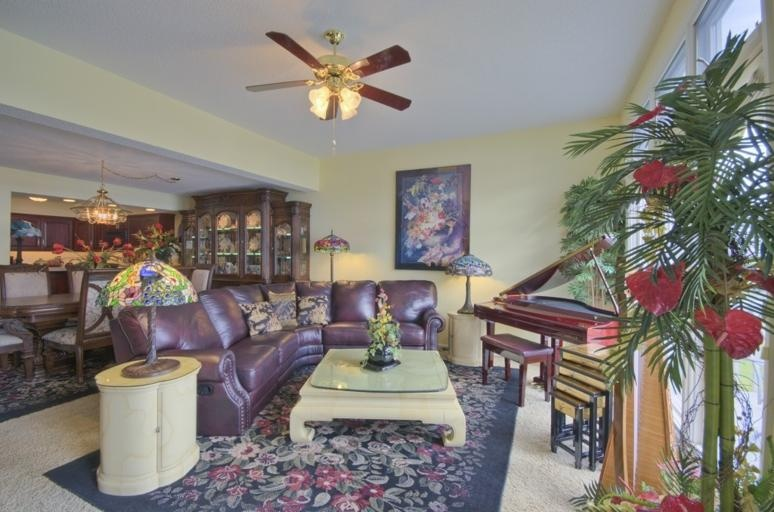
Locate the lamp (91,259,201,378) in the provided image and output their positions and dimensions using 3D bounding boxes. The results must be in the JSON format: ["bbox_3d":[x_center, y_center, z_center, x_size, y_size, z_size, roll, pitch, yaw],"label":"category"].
[{"bbox_3d":[-1.923,0.461,4.331,0.781,0.906,0.774,1,2,-9],"label":"lamp"}]

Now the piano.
[{"bbox_3d":[1.586,0.559,5.443,1.160,1.364,1.374,5,-1,21],"label":"piano"}]

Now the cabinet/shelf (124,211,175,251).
[{"bbox_3d":[-4.377,-0.438,9.599,0.599,0.527,0.211,-1,-1,-1],"label":"cabinet/shelf"}]

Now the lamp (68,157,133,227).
[{"bbox_3d":[-3.753,-0.879,7.026,0.646,0.855,0.645,2,-7,-33],"label":"lamp"}]

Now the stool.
[{"bbox_3d":[1.309,1.129,5.429,0.397,0.512,0.621,-1,8,-30],"label":"stool"}]

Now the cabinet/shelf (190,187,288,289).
[{"bbox_3d":[-2.104,-0.266,7.782,1.574,1.364,0.460,-2,-6,25],"label":"cabinet/shelf"}]

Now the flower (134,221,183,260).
[{"bbox_3d":[-3.496,-0.244,8.151,0.598,0.577,0.585,-3,20,4],"label":"flower"}]

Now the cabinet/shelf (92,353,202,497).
[{"bbox_3d":[-1.986,1.402,4.395,0.783,0.816,0.871,1,2,33],"label":"cabinet/shelf"}]

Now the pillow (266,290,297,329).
[{"bbox_3d":[-1.238,0.630,6.199,0.185,0.452,0.396,-27,-19,32],"label":"pillow"}]

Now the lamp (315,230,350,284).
[{"bbox_3d":[-0.723,-0.015,7.269,0.425,0.696,0.801,-2,1,-1],"label":"lamp"}]

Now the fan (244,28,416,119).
[{"bbox_3d":[-0.330,-1.496,4.475,0.930,0.449,0.963,2,-15,-1],"label":"fan"}]

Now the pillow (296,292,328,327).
[{"bbox_3d":[-0.854,0.627,6.301,0.354,0.318,0.106,-1,-23,-21],"label":"pillow"}]

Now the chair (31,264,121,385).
[{"bbox_3d":[-3.326,0.711,5.838,0.677,1.031,0.669,0,-1,21],"label":"chair"}]

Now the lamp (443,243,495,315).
[{"bbox_3d":[0.973,0.317,6.340,0.589,0.666,0.586,2,-5,-22],"label":"lamp"}]

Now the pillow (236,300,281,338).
[{"bbox_3d":[-1.407,0.667,5.849,0.116,0.352,0.385,-37,-14,32],"label":"pillow"}]

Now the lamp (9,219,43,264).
[{"bbox_3d":[-5.679,-0.233,8.205,0.558,0.637,0.525,-3,0,-16],"label":"lamp"}]

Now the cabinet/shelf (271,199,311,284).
[{"bbox_3d":[-1.385,-0.222,7.732,0.593,1.146,0.335,-2,2,-9],"label":"cabinet/shelf"}]
